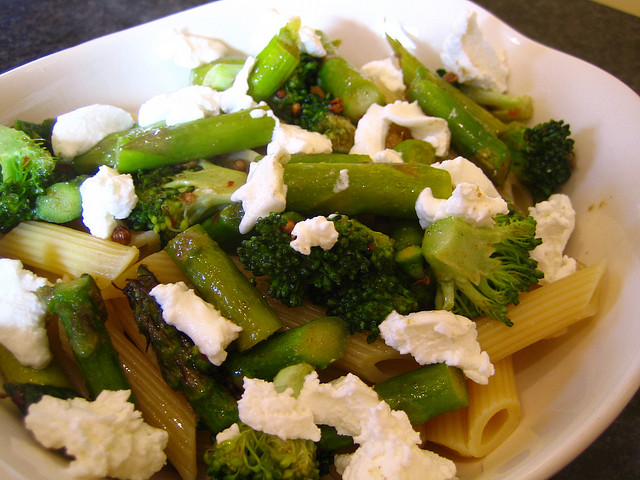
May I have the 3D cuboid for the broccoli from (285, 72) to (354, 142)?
[{"bbox_3d":[0.006,-0.666,2.823,0.417,0.120,0.198,34,62,15],"label":"broccoli"}]

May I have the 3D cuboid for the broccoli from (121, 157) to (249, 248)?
[{"bbox_3d":[-0.639,-0.239,2.603,0.546,0.254,0.393,-25,57,-24],"label":"broccoli"}]

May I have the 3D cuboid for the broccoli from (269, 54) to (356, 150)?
[{"bbox_3d":[-0.033,-0.669,2.937,0.373,0.230,0.528,-13,77,-1],"label":"broccoli"}]

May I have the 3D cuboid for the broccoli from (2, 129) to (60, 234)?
[{"bbox_3d":[-1.360,-0.303,2.563,0.268,0.238,0.372,-11,60,-11],"label":"broccoli"}]

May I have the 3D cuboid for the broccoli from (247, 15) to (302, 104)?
[{"bbox_3d":[-0.230,-0.903,2.788,0.361,0.302,0.178,-30,64,-21],"label":"broccoli"}]
